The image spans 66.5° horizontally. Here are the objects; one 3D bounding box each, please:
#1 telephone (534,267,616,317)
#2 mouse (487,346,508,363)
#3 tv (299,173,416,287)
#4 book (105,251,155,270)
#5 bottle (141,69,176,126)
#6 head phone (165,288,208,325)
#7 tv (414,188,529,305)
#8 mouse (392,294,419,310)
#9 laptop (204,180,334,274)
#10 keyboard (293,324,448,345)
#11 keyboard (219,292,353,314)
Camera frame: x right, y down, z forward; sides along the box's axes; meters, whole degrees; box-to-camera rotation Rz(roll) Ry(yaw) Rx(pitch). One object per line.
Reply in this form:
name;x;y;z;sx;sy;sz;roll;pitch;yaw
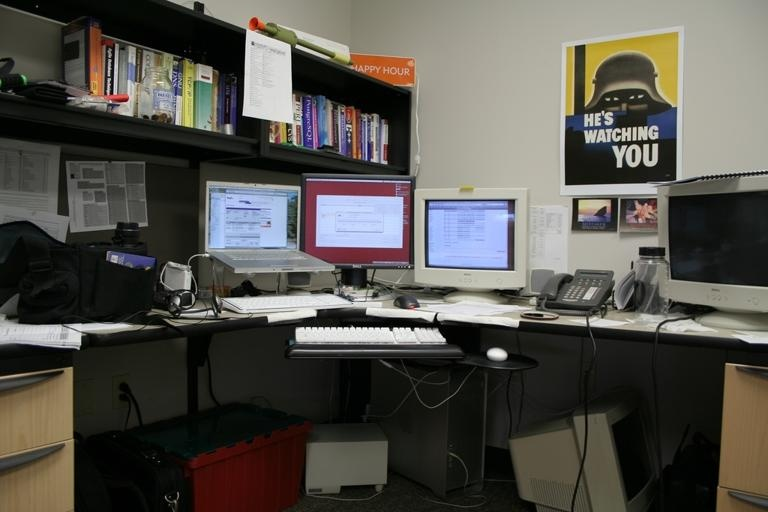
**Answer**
telephone;0.881;0.143;2.663;0.263;0.114;0.282;4;19;37
mouse;0.464;0.411;2.441;0.063;0.034;0.057;7;13;35
tv;-0.144;-0.125;2.929;0.583;0.548;0.193;0;7;-19
book;-0.977;0.013;2.278;0.044;0.074;0.183;3;6;34
bottle;-0.944;-0.682;2.458;0.141;0.242;0.077;-4;6;-32
head phone;-0.779;0.198;2.318;0.146;0.059;0.116;4;6;25
tv;0.469;-0.059;2.957;0.578;0.552;0.356;2;3;26
mouse;0.096;0.201;2.584;0.097;0.046;0.134;-3;6;-21
laptop;-0.514;-0.131;2.642;0.497;0.330;0.416;1;11;-31
keyboard;-0.056;0.329;2.409;0.606;0.063;0.146;-1;5;-6
keyboard;-0.443;0.194;2.579;0.550;0.058;0.326;-3;6;-27
